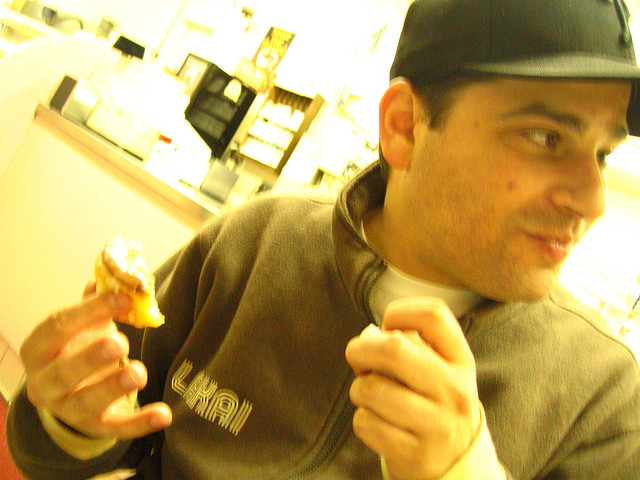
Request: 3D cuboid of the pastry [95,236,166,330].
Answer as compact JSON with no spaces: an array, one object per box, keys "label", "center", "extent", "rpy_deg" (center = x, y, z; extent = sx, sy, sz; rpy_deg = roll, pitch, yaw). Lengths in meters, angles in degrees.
[{"label":"pastry","center":[-0.584,0.136,1.790],"extent":[0.255,0.093,0.196],"rpy_deg":[67,16,4]}]
